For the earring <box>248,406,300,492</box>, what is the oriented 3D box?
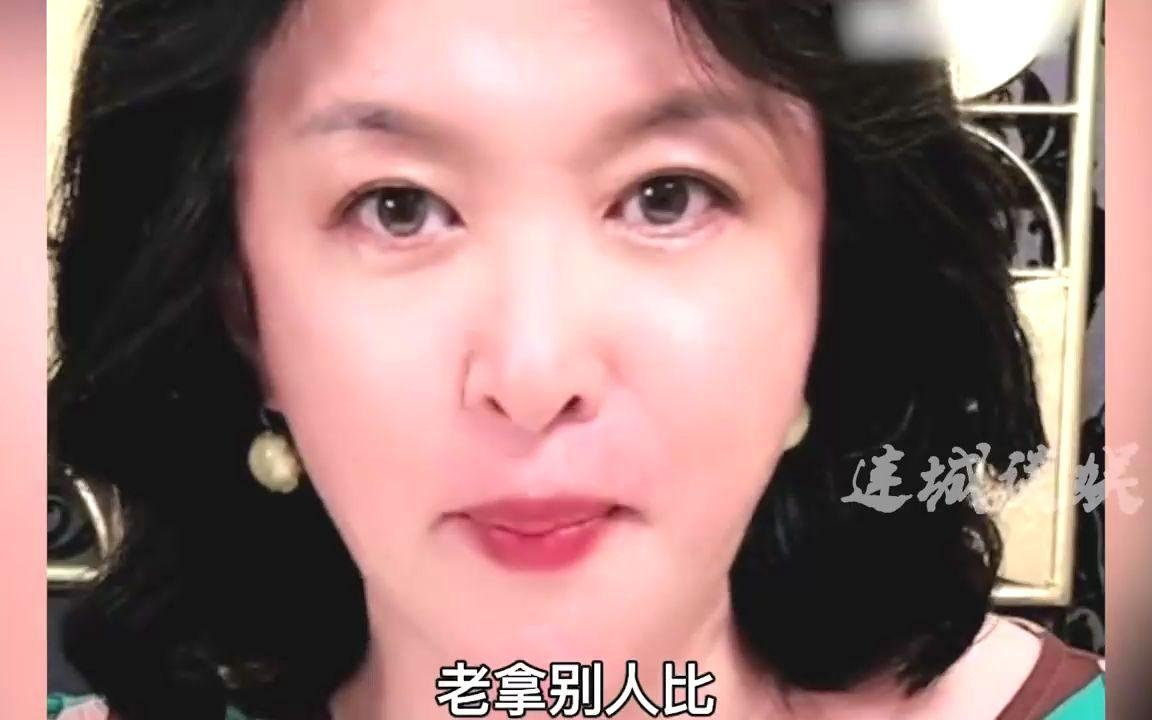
[{"bbox_3d":[-0.628,0.185,2.677,0.122,0.148,0.037,-32,-2,15],"label":"earring"}]
